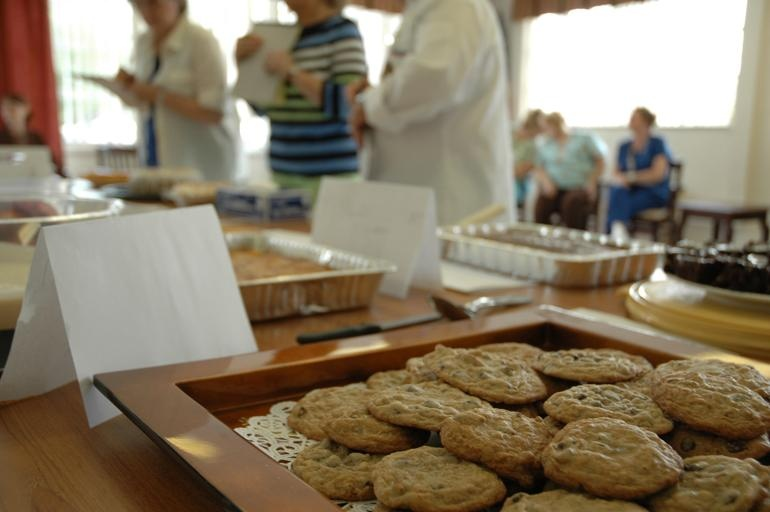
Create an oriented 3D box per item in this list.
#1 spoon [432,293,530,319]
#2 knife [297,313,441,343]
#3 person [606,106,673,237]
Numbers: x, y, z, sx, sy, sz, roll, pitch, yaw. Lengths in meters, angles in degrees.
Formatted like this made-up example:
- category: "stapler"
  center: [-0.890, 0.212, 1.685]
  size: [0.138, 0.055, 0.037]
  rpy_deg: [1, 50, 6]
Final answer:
- category: "spoon"
  center: [0.158, 0.085, 0.990]
  size: [0.136, 0.023, 0.022]
  rpy_deg: [-3, 38, -46]
- category: "knife"
  center: [-0.027, 0.107, 0.870]
  size: [0.234, 0.018, 0.024]
  rpy_deg: [-2, 13, -30]
- category: "person"
  center: [1.876, -0.608, 4.361]
  size: [0.424, 0.921, 0.349]
  rpy_deg: [5, 13, 23]
